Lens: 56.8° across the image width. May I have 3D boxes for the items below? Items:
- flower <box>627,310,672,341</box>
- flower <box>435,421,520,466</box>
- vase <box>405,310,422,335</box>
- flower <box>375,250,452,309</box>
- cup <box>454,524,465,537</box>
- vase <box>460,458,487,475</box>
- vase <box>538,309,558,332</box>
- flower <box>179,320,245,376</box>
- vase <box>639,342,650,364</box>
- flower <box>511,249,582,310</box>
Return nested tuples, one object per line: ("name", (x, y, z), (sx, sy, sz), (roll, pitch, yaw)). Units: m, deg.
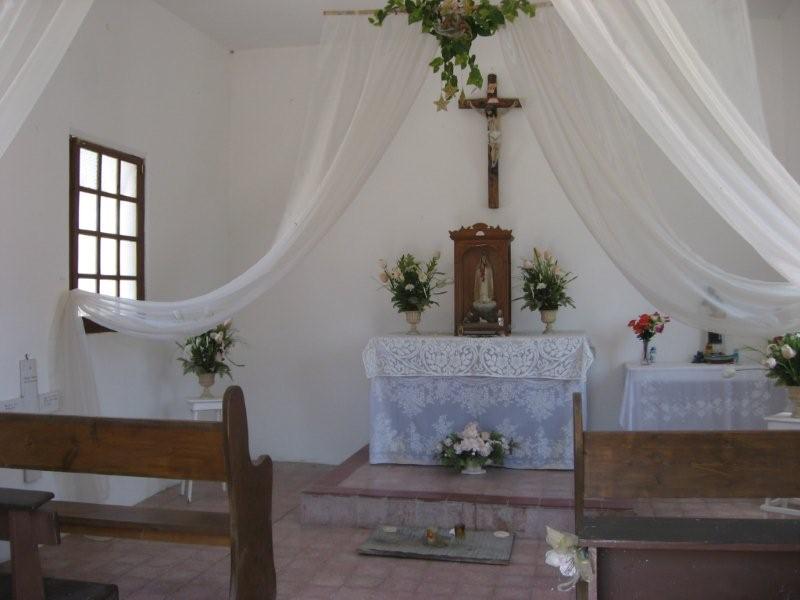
("flower", (2.114, 0.221, 6.331), (0.343, 0.244, 0.374), (-2, -2, 19))
("flower", (0.574, 1.165, 5.761), (0.356, 0.310, 0.474), (0, 1, -1))
("vase", (0.106, 0.189, 6.393), (0.160, 0.216, 0.171), (0, -3, -1))
("flower", (0.106, -0.175, 6.579), (0.552, 0.563, 0.697), (-2, -2, 11))
("cup", (0.395, 1.554, 4.969), (0.069, 0.083, 0.071), (1, -6, 0))
("vase", (0.567, 1.305, 5.792), (0.131, 0.103, 0.129), (0, -3, 1))
("vase", (1.263, 0.180, 6.270), (0.161, 0.204, 0.181), (2, -3, -12))
("flower", (-1.613, 0.413, 6.278), (0.530, 0.452, 0.560), (1, -16, -5))
("vase", (2.092, 0.443, 6.343), (0.074, 0.192, 0.259), (-2, -2, 19))
("flower", (1.242, -0.192, 6.403), (0.498, 0.582, 0.585), (-2, -2, 13))
